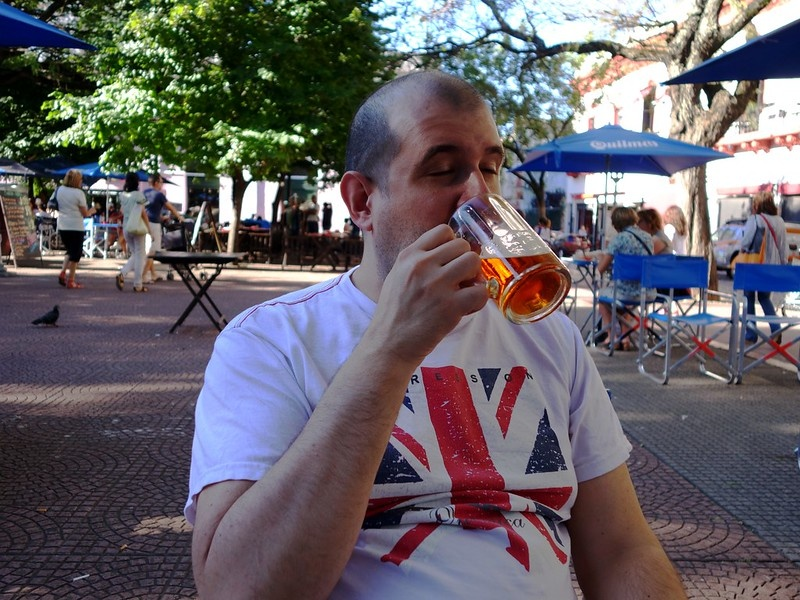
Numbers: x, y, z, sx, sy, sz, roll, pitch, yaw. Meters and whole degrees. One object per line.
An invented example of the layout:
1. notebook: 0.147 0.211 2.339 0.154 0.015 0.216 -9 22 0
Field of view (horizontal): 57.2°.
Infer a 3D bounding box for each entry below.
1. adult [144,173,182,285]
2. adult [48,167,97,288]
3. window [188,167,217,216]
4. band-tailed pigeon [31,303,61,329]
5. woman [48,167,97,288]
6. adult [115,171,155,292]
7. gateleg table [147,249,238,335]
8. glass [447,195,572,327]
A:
1. adult: -5.208 -1.566 15.993 0.951 2.250 0.939 -3 7 -27
2. adult: -6.263 -1.360 14.166 0.679 2.243 0.768 1 -1 40
3. window: -11.517 -6.162 42.706 1.417 1.398 1.088 -2 -2 -13
4. band-tailed pigeon: -4.753 0.214 9.816 0.318 0.300 0.633 -1 5 -28
5. woman: -6.265 -1.361 14.197 0.693 2.243 0.730 3 1 33
6. adult: -5.370 -1.368 14.538 0.779 2.305 1.046 -3 8 -27
7. gateleg table: -2.984 -0.063 10.710 0.948 0.856 1.120 -4 -5 -14
8. glass: 0.289 -0.101 1.858 0.315 0.328 0.185 -1 6 -27
